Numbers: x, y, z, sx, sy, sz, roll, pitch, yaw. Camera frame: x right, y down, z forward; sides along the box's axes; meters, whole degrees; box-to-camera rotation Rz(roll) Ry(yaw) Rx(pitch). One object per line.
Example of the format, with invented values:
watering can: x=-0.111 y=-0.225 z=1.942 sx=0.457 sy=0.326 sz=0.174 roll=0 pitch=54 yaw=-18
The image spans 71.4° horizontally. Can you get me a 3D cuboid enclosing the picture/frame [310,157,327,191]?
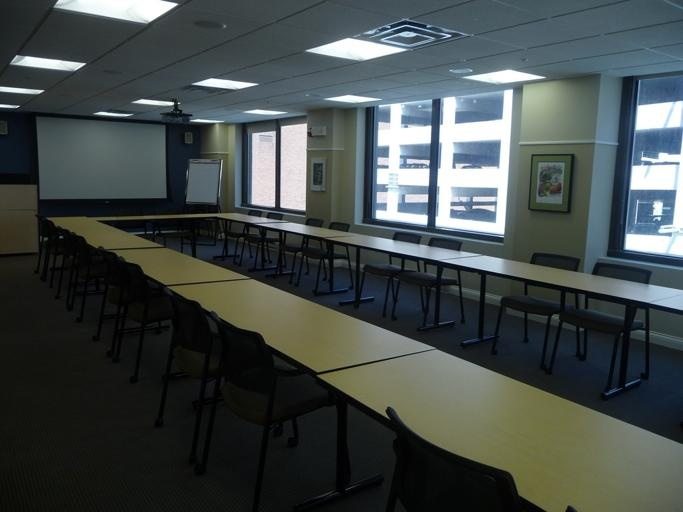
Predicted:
picture/frame: x=-0.472 y=-1.741 z=9.870 sx=0.036 sy=0.957 sz=0.665 roll=-1 pitch=3 yaw=-36

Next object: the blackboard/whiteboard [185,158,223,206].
blackboard/whiteboard: x=-3.514 y=-1.904 z=12.051 sx=1.429 sy=1.530 sz=0.145 roll=2 pitch=0 yaw=24

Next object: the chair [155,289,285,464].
chair: x=-1.210 y=0.705 z=3.918 sx=0.999 sy=1.625 sz=0.933 roll=-5 pitch=13 yaw=-42

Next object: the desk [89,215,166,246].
desk: x=-3.865 y=-0.509 z=8.569 sx=0.952 sy=0.484 sz=0.519 roll=-5 pitch=12 yaw=-40

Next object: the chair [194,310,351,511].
chair: x=-0.425 y=0.808 z=3.396 sx=1.056 sy=1.456 sz=0.959 roll=-10 pitch=16 yaw=-38
